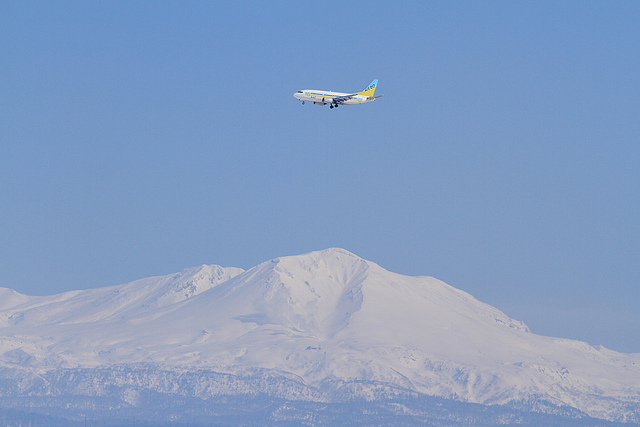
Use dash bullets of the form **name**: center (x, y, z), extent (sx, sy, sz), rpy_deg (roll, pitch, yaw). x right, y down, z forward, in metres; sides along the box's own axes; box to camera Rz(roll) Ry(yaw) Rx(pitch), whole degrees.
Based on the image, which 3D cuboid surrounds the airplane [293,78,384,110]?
- **airplane**: center (7.549, -53.362, 896.822), extent (40.876, 14.472, 40.483), rpy_deg (5, -1, -11)
